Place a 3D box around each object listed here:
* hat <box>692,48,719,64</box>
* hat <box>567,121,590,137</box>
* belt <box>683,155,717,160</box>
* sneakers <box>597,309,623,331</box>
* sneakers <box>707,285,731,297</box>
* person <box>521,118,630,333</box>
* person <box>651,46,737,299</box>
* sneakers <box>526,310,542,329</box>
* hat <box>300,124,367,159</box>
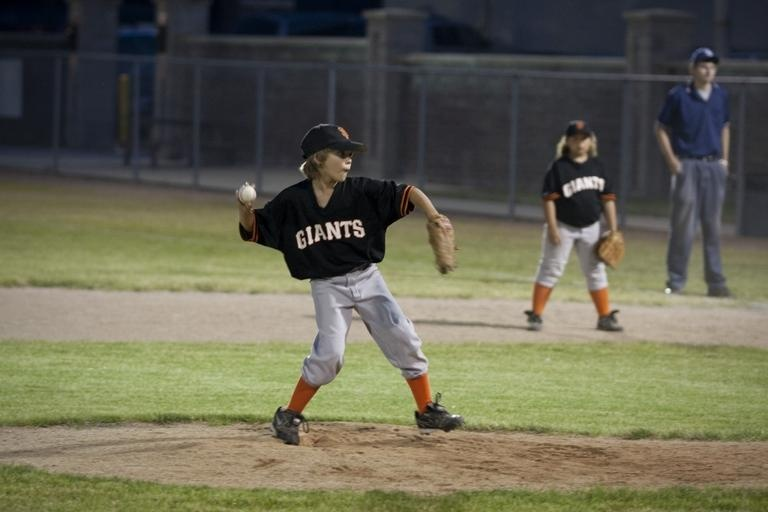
[{"bbox_3d":[3.735,-2.385,19.508,0.251,0.167,0.329,1,-3,-4],"label":"hat"},{"bbox_3d":[2.200,-1.443,18.874,0.262,0.175,0.404,0,2,3],"label":"hat"},{"bbox_3d":[3.819,-1.171,19.830,0.349,0.063,0.019,0,5,0],"label":"belt"},{"bbox_3d":[2.590,0.771,19.030,0.372,0.232,0.136,-1,10,-6],"label":"sneakers"},{"bbox_3d":[4.069,0.450,20.108,0.252,0.170,0.142,6,-18,-14],"label":"sneakers"},{"bbox_3d":[2.168,-0.321,18.928,1.048,2.401,0.441,1,5,7],"label":"person"},{"bbox_3d":[3.726,-0.974,19.890,0.800,2.955,0.855,3,6,24],"label":"person"},{"bbox_3d":[1.715,0.746,18.995,0.103,0.263,0.125,-3,16,24],"label":"sneakers"},{"bbox_3d":[-0.519,-1.159,16.966,0.551,0.269,0.344,-13,5,15],"label":"hat"}]
